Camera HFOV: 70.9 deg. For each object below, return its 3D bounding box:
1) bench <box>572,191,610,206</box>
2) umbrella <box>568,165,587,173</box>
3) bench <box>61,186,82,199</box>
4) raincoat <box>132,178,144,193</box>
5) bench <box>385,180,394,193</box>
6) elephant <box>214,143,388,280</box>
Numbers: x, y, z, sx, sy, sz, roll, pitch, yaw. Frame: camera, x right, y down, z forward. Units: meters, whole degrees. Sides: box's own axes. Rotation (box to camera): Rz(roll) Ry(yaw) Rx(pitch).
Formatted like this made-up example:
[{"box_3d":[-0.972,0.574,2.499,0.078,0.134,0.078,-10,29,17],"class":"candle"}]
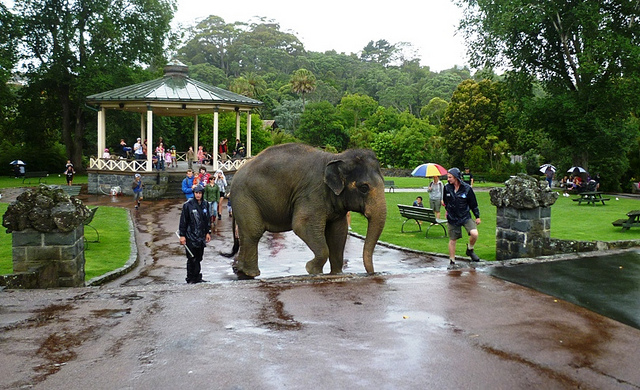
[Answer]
[{"box_3d":[16.357,0.184,27.161,1.567,0.705,1.488,4,10,36],"class":"bench"},{"box_3d":[20.138,-1.963,35.201,1.131,0.381,1.135,1,12,33],"class":"umbrella"},{"box_3d":[-16.549,-0.388,30.115,1.021,0.515,2.913,-6,16,-24],"class":"bench"},{"box_3d":[-9.552,-0.455,23.665,0.450,0.688,0.934,-6,16,-24],"class":"raincoat"},{"box_3d":[5.621,-0.687,36.181,1.016,0.893,0.772,0,0,1],"class":"bench"},{"box_3d":[-0.455,0.208,12.125,5.159,3.262,2.303,-1,0,15],"class":"elephant"}]
